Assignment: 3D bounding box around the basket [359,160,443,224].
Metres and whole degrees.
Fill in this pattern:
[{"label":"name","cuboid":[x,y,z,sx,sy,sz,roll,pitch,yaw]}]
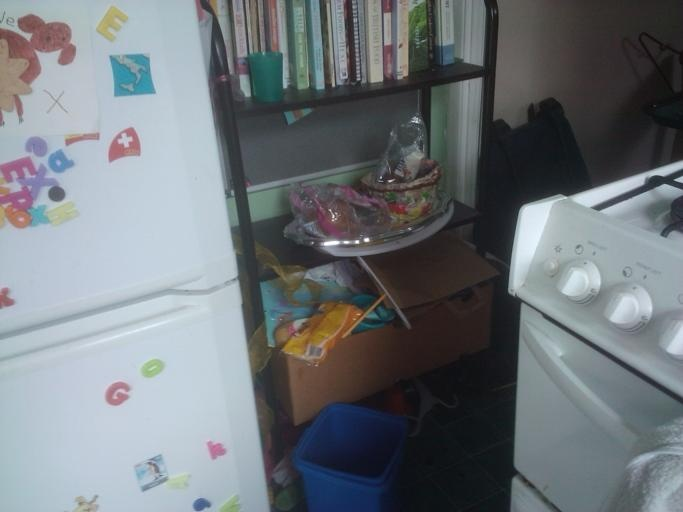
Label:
[{"label":"basket","cuboid":[0.219,-0.202,1.830,0.258,0.136,0.296,-7,10,-21]}]
